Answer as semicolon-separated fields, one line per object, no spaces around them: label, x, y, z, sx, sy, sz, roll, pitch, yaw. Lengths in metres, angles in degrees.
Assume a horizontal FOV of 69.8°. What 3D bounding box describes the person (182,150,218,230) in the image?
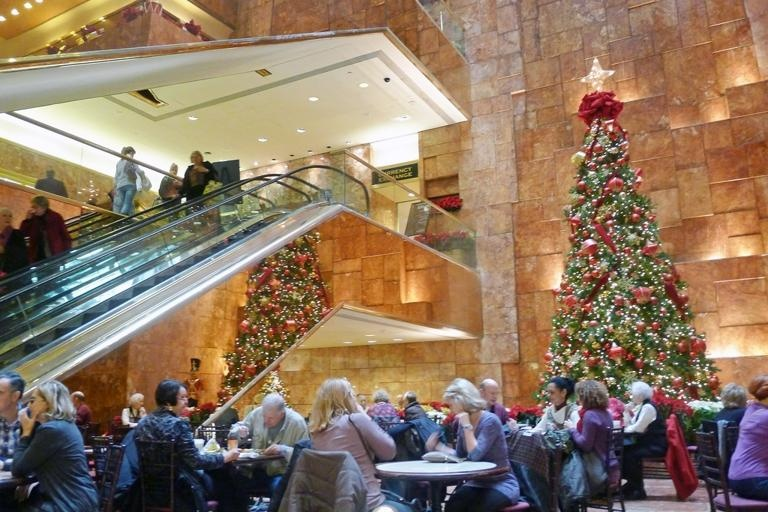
person;-3.666;-1.333;10.755;0.851;1.474;0.574;-11;-20;28

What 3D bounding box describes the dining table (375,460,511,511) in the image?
dining table;0.467;1.901;4.843;0.891;0.456;0.747;0;-11;-5

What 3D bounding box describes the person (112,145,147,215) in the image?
person;-5.192;-1.391;11.135;0.613;1.163;0.668;7;-17;-10
